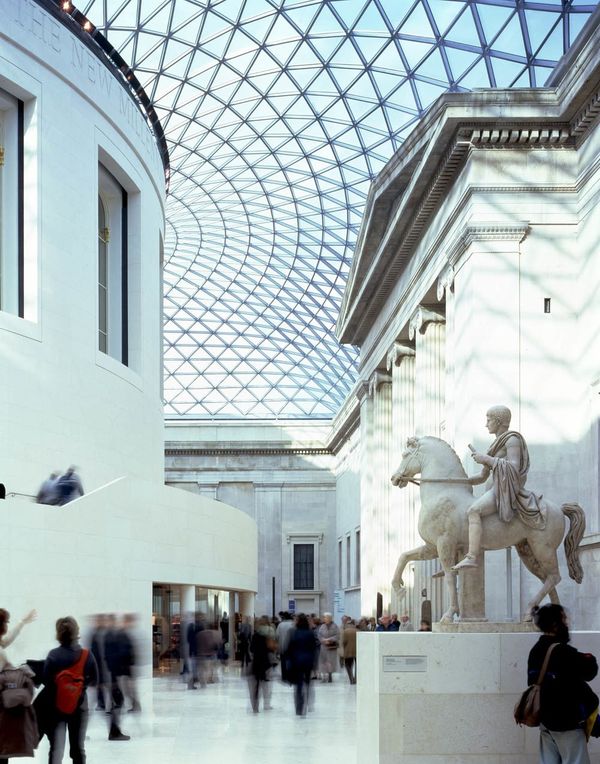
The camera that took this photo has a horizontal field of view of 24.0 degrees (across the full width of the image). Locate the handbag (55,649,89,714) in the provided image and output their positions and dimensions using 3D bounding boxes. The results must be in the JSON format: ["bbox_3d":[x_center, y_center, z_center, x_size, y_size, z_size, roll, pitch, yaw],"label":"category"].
[{"bbox_3d":[-2.410,3.154,14.886,0.288,0.538,0.524,3,-19,-2],"label":"handbag"}]

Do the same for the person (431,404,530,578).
[{"bbox_3d":[2.264,1.168,16.349,0.934,1.907,0.551,1,-12,-3],"label":"person"}]

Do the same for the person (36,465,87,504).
[{"bbox_3d":[-4.436,1.854,25.995,0.772,0.881,1.832,1,-13,-5],"label":"person"}]

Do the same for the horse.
[{"bbox_3d":[2.194,1.694,16.528,2.196,2.255,0.658,-2,-12,7],"label":"horse"}]
